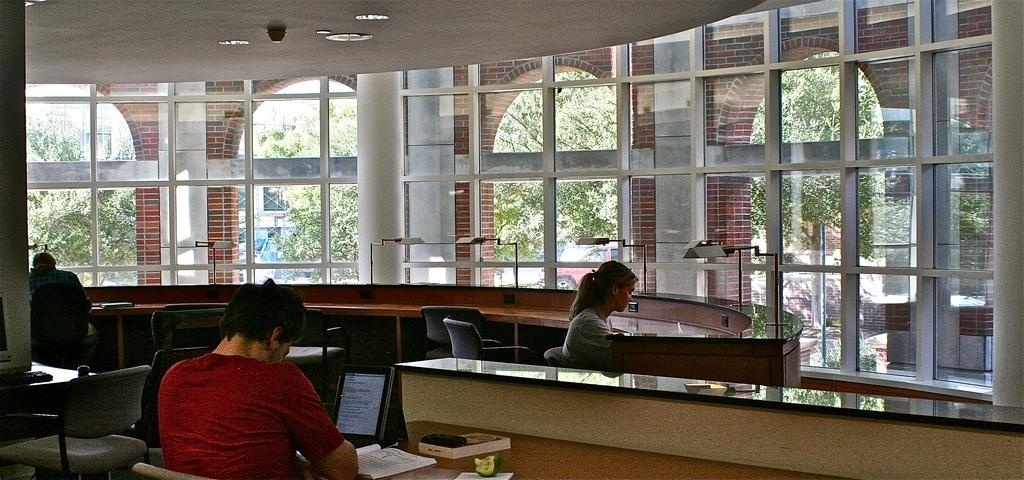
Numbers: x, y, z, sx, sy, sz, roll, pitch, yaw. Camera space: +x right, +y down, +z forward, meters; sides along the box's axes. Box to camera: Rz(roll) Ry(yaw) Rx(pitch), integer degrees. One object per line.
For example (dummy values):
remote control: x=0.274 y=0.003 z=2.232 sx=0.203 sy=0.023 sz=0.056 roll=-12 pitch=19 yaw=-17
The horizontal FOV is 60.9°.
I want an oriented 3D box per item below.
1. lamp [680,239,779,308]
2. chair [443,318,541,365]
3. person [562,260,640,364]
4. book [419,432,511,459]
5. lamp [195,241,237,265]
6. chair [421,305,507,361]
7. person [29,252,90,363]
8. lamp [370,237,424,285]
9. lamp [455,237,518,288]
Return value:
lamp: x=2.789 y=0.416 z=10.819 sx=1.014 sy=0.825 sz=2.718 roll=2 pitch=2 yaw=17
chair: x=-0.214 y=1.251 z=10.434 sx=1.026 sy=0.802 sz=0.792 roll=-2 pitch=0 yaw=-32
person: x=0.832 y=0.721 z=8.841 sx=0.601 sy=1.104 sz=0.813 roll=0 pitch=1 yaw=-7
book: x=-0.432 y=1.790 z=7.786 sx=0.933 sy=0.155 sz=1.213 roll=1 pitch=0 yaw=-6
lamp: x=-4.529 y=0.189 z=13.247 sx=0.310 sy=0.313 sz=0.415 roll=-14 pitch=-14 yaw=41
chair: x=-0.332 y=1.087 z=10.567 sx=0.874 sy=0.918 sz=0.860 roll=0 pitch=0 yaw=44
person: x=-5.794 y=0.963 z=10.911 sx=0.966 sy=1.456 sz=0.819 roll=13 pitch=12 yaw=39
lamp: x=-1.745 y=0.281 z=12.922 sx=0.990 sy=0.581 sz=0.443 roll=0 pitch=-6 yaw=-3
lamp: x=-0.334 y=0.307 z=12.449 sx=0.788 sy=0.706 sz=1.407 roll=1 pitch=1 yaw=3
